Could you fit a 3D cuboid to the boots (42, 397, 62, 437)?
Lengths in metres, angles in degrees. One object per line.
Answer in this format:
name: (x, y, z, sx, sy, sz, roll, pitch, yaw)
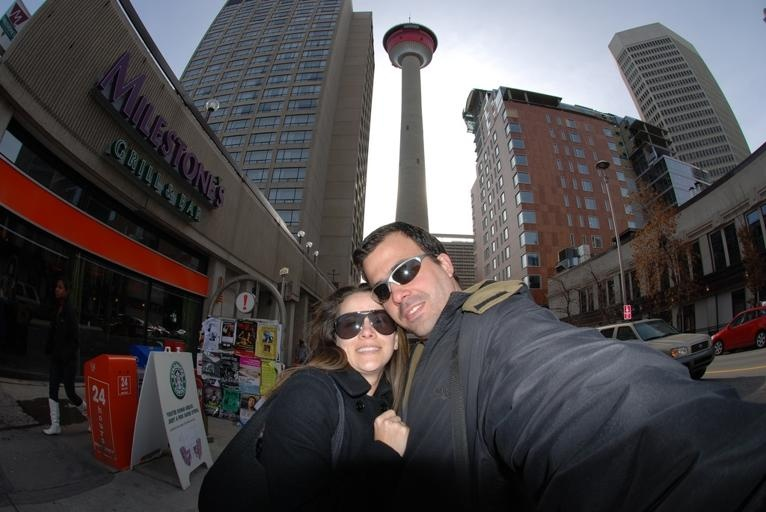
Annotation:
boots: (-5.184, 2.602, 6.429, 0.237, 0.545, 0.275, 3, -16, -13)
